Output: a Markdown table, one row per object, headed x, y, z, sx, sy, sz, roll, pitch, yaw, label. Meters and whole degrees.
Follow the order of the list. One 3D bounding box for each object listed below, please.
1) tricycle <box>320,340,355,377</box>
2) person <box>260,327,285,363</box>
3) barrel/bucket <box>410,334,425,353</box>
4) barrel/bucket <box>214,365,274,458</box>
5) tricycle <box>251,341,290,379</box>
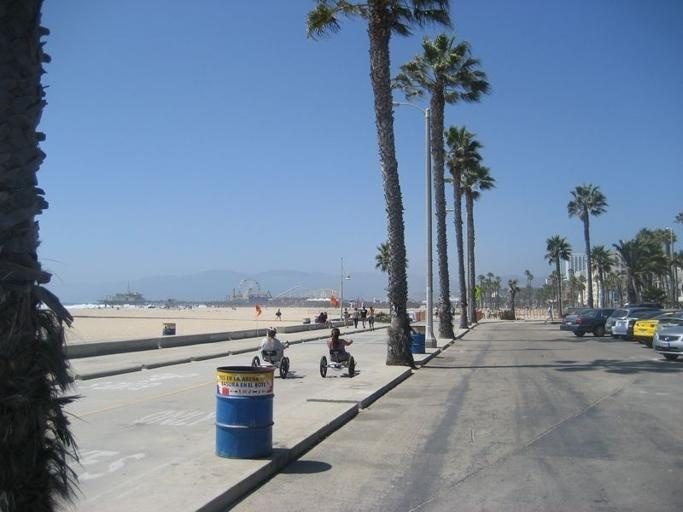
| x | y | z | sx | sy | sz | roll | pitch | yaw | label |
| --- | --- | --- | --- | --- | --- | --- | --- | --- | --- |
| -0.027 | 3.527 | 17.620 | 0.802 | 0.880 | 1.226 | 0 | 6 | 10 | tricycle |
| -2.364 | 2.900 | 17.725 | 0.802 | 1.237 | 1.045 | 2 | 4 | 7 | person |
| 3.472 | 3.959 | 24.298 | 0.529 | 0.874 | 0.770 | -3 | -4 | 6 | barrel/bucket |
| -1.465 | 2.390 | 8.206 | 0.855 | 1.369 | 0.387 | -2 | -4 | -13 | barrel/bucket |
| -2.259 | 3.464 | 17.673 | 1.099 | 1.255 | 1.651 | -4 | -10 | 2 | tricycle |
